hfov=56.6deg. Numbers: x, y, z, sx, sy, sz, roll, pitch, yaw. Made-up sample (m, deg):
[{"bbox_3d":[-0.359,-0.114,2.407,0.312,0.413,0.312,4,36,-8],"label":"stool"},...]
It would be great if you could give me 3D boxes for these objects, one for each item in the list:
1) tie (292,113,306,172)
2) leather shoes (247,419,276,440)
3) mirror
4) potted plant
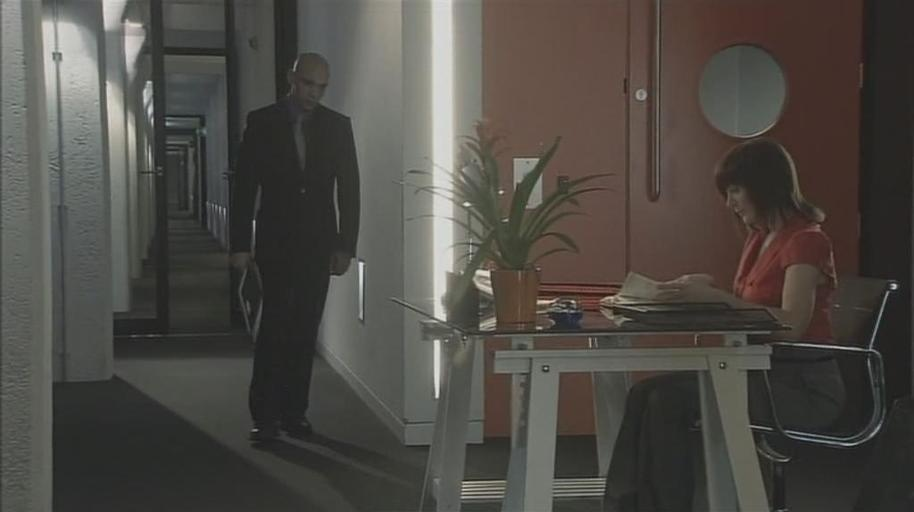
[{"bbox_3d":[-0.757,-0.554,4.083,0.061,0.250,0.070,0,-1,-11],"label":"tie"},{"bbox_3d":[-0.955,0.864,4.190,0.087,0.036,0.112,-1,24,-7],"label":"leather shoes"},{"bbox_3d":[1.402,-0.813,4.131,0.467,0.469,0.063,3,1,4],"label":"mirror"},{"bbox_3d":[0.179,-0.104,3.054,0.742,0.713,0.789,-12,15,-39],"label":"potted plant"}]
